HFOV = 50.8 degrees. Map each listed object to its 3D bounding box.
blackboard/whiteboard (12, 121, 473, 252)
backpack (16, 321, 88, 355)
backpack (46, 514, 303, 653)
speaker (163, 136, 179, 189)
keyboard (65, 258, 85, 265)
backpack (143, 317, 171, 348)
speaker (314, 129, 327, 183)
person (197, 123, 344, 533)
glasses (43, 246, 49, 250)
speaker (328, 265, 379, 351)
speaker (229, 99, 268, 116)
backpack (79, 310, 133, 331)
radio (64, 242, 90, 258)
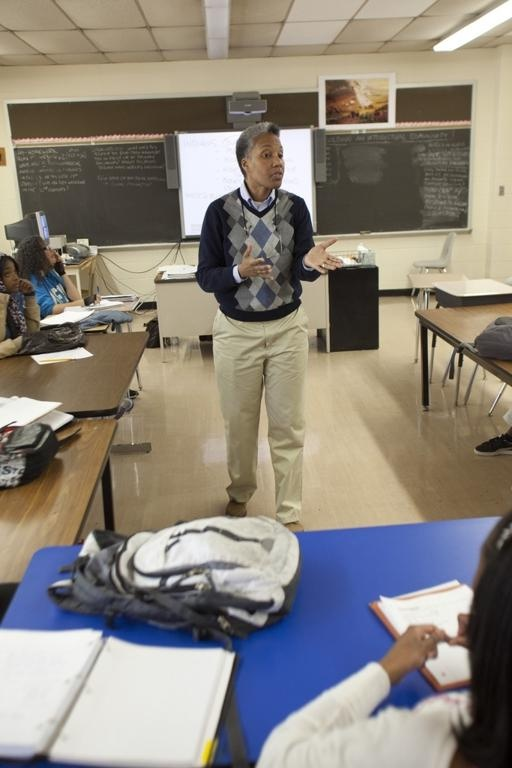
[{"bbox_3d":[-0.091,-2.613,7.201,5.384,1.458,0.182,5,32,22],"label":"blackboard/whiteboard"},{"bbox_3d":[-1.042,-0.223,2.746,0.208,0.079,0.215,-6,19,-9],"label":"backpack"},{"bbox_3d":[-0.132,0.327,0.918,0.272,0.092,0.249,4,18,0],"label":"backpack"},{"bbox_3d":[-1.028,-2.696,6.509,0.159,0.620,0.127,4,34,6],"label":"speaker"},{"bbox_3d":[-1.992,-1.325,5.858,0.154,0.038,0.159,1,19,3],"label":"keyboard"},{"bbox_3d":[-0.936,-0.485,5.126,0.209,0.337,0.387,3,-21,-23],"label":"backpack"},{"bbox_3d":[0.791,-2.800,6.635,0.122,0.611,0.203,10,38,8],"label":"speaker"},{"bbox_3d":[0.006,-0.158,2.102,0.467,1.591,0.344,-1,14,-1],"label":"person"},{"bbox_3d":[-1.521,-0.979,3.881,0.031,0.044,0.012,-3,-2,-23],"label":"glasses"},{"bbox_3d":[0.800,-0.719,5.252,0.772,0.760,0.420,-6,6,-35],"label":"speaker"},{"bbox_3d":[-0.105,-3.260,6.361,0.464,0.191,0.232,-1,15,-1],"label":"speaker"},{"bbox_3d":[-0.969,-0.397,3.486,0.287,0.143,0.458,-3,15,-9],"label":"backpack"},{"bbox_3d":[-2.015,-1.507,6.063,0.256,0.128,0.186,9,31,0],"label":"radio"}]
